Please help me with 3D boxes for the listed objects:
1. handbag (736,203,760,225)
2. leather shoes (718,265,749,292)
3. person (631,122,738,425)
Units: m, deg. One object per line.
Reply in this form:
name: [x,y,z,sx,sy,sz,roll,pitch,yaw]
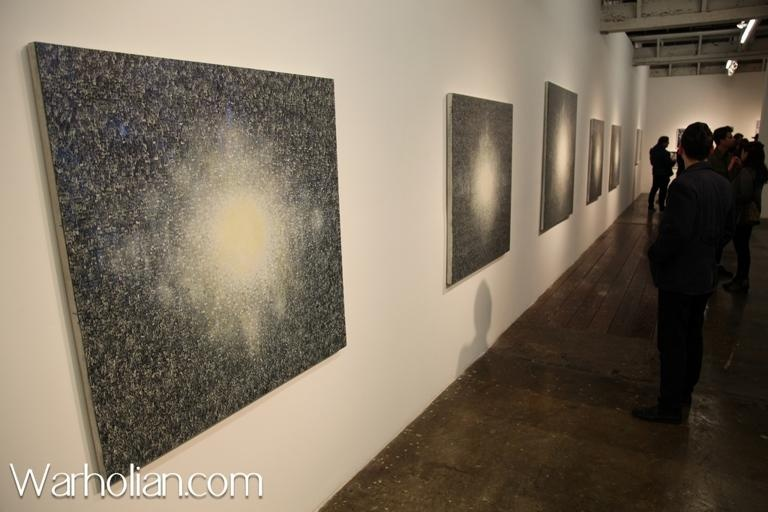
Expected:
handbag: [3.948,-0.450,5.875,0.179,0.242,0.074,9,19,31]
leather shoes: [4.062,0.287,6.309,0.105,0.208,0.288,-12,36,-3]
person: [2.069,0.124,3.760,0.423,2.000,0.712,11,20,36]
